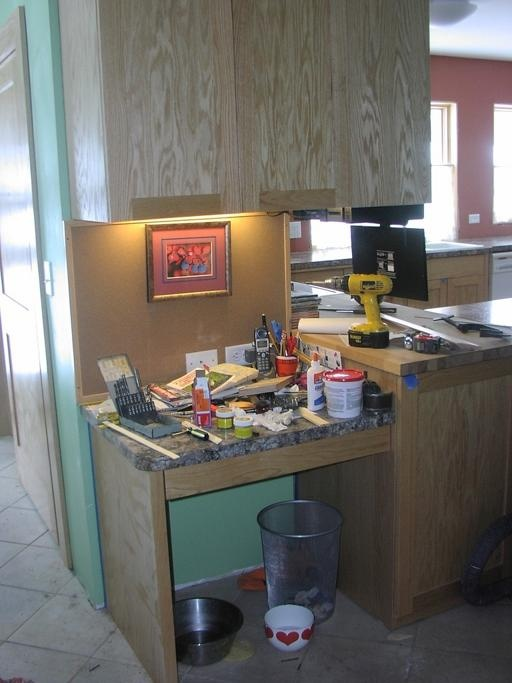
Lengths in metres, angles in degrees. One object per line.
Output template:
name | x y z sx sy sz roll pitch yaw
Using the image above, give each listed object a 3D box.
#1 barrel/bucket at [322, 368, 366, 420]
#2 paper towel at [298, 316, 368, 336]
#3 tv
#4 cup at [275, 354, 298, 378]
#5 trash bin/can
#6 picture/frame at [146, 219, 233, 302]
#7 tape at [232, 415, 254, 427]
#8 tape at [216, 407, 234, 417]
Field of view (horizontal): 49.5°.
barrel/bucket | 0.244 0.148 1.560 0.116 0.136 0.128 -2 10 2
paper towel | 0.265 -0.059 2.051 0.285 0.084 0.090 3 -23 7
tv | 0.544 -0.327 2.265 0.014 0.273 0.369 -9 11 -24
cup | 0.107 0.083 1.921 0.065 0.060 0.067 1 4 0
trash bin/can | 0.162 0.686 1.886 0.322 0.375 0.348 1 7 16
picture/frame | -0.226 -0.289 1.956 0.281 0.288 0.038 -9 18 -33
tape | -0.030 0.201 1.452 0.032 0.013 0.033 8 8 44
tape | -0.086 0.188 1.524 0.030 0.024 0.031 0 6 -15
